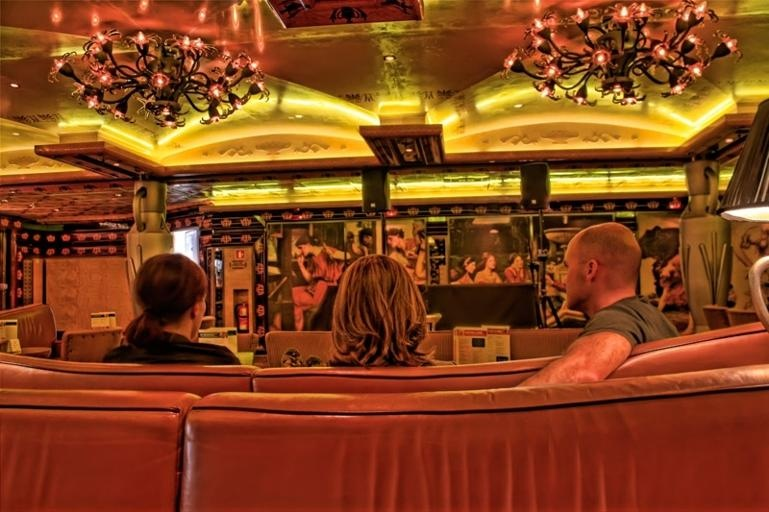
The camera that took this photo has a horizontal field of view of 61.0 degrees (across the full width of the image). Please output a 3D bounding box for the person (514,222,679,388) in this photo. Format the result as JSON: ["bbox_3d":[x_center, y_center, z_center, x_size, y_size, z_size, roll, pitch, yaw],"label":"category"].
[{"bbox_3d":[1.759,0.345,5.206,0.842,0.970,1.904,2,-1,35],"label":"person"}]

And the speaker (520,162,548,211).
[{"bbox_3d":[1.903,-0.897,8.339,0.365,0.617,0.232,0,-1,25],"label":"speaker"}]

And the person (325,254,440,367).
[{"bbox_3d":[-0.009,0.252,3.627,0.763,0.698,0.545,-1,7,-1],"label":"person"}]

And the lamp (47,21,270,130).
[{"bbox_3d":[-2.038,-1.603,6.116,1.490,0.482,1.313,0,-19,-15],"label":"lamp"}]
